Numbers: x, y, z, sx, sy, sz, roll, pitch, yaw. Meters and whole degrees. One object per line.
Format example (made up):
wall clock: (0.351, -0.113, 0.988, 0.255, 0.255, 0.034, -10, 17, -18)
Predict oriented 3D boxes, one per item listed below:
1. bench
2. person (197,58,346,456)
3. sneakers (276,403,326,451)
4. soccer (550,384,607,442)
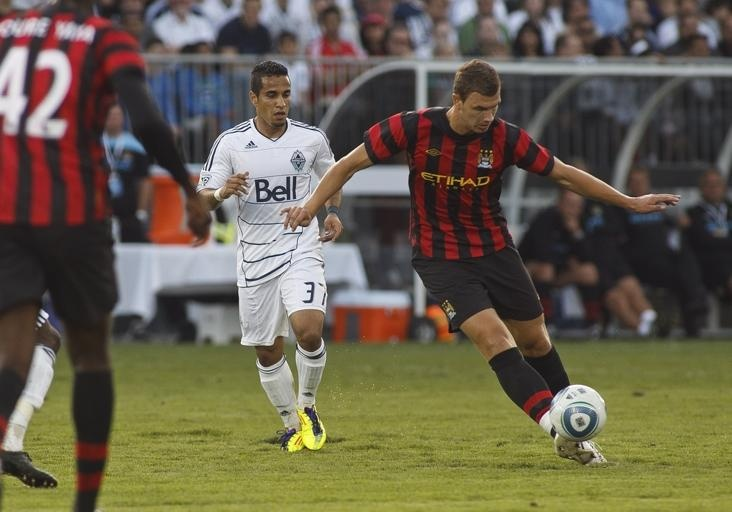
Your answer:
bench: (-1.803, 0.515, 13.481, 1.104, 0.393, 1.084, 0, -4, -9)
person: (-0.633, -0.029, 8.905, 0.995, 2.614, 1.100, 0, 2, -7)
sneakers: (-0.425, 1.179, 8.710, 0.296, 0.244, 0.425, -1, 16, -10)
soccer: (1.357, 0.974, 7.996, 0.374, 0.415, 0.373, -4, 15, 18)
